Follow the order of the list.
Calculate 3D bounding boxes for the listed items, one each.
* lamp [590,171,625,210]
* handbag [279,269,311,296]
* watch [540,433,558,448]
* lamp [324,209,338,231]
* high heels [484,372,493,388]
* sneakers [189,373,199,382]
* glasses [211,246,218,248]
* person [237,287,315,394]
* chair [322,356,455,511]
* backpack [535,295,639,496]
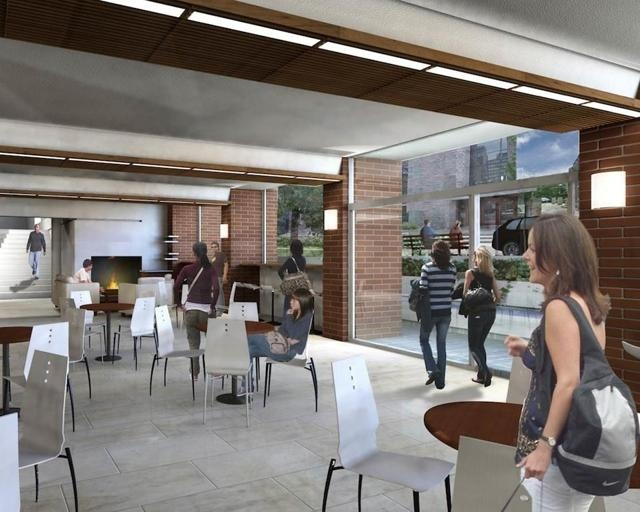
[{"bbox_3d":[3.014,-0.687,4.824,0.309,0.407,0.205,-1,3,32],"label":"lamp"},{"bbox_3d":[-0.400,0.480,7.900,0.552,0.491,0.372,1,-5,-10],"label":"handbag"},{"bbox_3d":[0.808,0.655,1.632,0.056,0.031,0.057,15,-1,-14],"label":"watch"},{"bbox_3d":[0.205,-0.738,9.568,0.115,0.460,0.425,-5,3,-30],"label":"lamp"},{"bbox_3d":[2.267,1.670,6.276,0.109,0.181,0.279,-2,2,20],"label":"high heels"},{"bbox_3d":[-1.689,1.651,6.226,0.106,0.113,0.283,2,-6,-25],"label":"sneakers"},{"bbox_3d":[-2.373,-0.197,10.424,0.087,0.060,0.086,-1,0,-20],"label":"glasses"},{"bbox_3d":[-0.481,0.927,5.185,0.745,1.151,0.409,7,5,-8],"label":"person"},{"bbox_3d":[0.415,1.015,2.778,0.613,0.743,0.454,-1,3,33],"label":"chair"},{"bbox_3d":[0.962,0.518,1.637,0.247,0.725,0.240,-5,3,-31],"label":"backpack"}]
